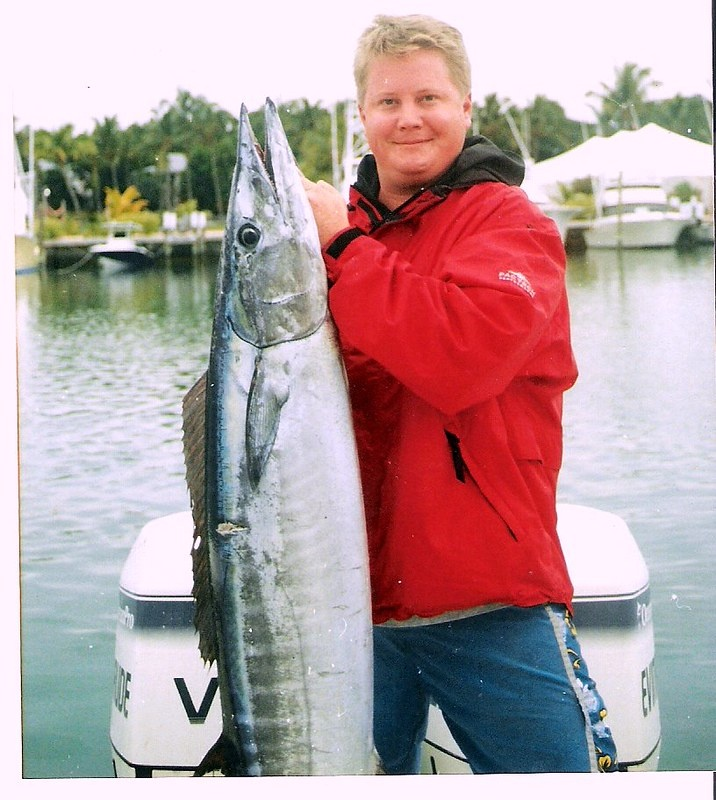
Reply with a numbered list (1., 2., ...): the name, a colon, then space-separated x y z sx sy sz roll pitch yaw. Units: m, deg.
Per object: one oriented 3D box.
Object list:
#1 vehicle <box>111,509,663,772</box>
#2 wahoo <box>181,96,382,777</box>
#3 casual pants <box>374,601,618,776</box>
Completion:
1. vehicle: -0.194 0.863 4.871 1.275 0.660 0.940 -1 -1 5
2. wahoo: -0.163 0.273 4.119 0.602 2.252 0.344 -6 -2 18
3. casual pants: 0.372 0.851 4.055 0.531 0.491 0.196 -11 12 29
